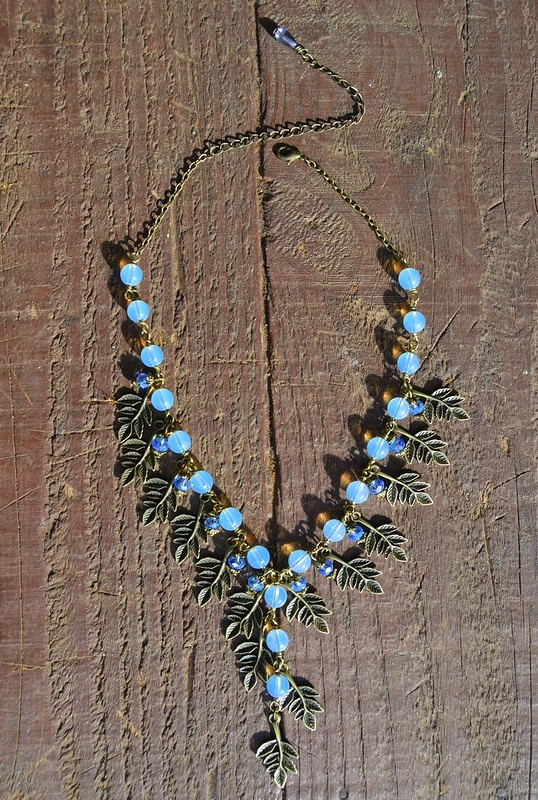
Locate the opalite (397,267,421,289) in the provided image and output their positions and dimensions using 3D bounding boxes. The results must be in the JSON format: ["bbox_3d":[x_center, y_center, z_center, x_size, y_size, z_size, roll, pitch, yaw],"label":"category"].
[{"bbox_3d":[0.390,-0.343,5.851,0.046,0.032,0.064,1,90,7],"label":"opalite"}]

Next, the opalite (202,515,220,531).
[{"bbox_3d":[-0.162,0.338,5.801,0.033,0.037,0.040,10,106,18],"label":"opalite"}]

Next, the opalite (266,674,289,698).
[{"bbox_3d":[0.022,0.786,5.753,0.063,0.037,0.066,-2,78,-2],"label":"opalite"}]

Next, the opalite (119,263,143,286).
[{"bbox_3d":[-0.387,-0.351,5.794,0.049,0.072,0.060,7,38,10],"label":"opalite"}]

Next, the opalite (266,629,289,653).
[{"bbox_3d":[0.018,0.663,5.781,0.064,0.029,0.064,-37,82,-8],"label":"opalite"}]

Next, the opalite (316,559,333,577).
[{"bbox_3d":[0.156,0.464,5.824,0.047,0.030,0.047,3,78,-1],"label":"opalite"}]

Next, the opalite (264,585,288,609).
[{"bbox_3d":[0.015,0.543,5.813,0.057,0.019,0.064,1,79,-2],"label":"opalite"}]

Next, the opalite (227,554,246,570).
[{"bbox_3d":[-0.097,0.451,5.797,0.037,0.020,0.047,-16,82,3],"label":"opalite"}]

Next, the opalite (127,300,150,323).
[{"bbox_3d":[-0.369,-0.250,5.811,0.060,0.054,0.059,1,77,-1],"label":"opalite"}]

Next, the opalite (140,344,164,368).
[{"bbox_3d":[-0.328,-0.125,5.793,0.050,0.076,0.065,12,81,-4],"label":"opalite"}]

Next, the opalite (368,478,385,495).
[{"bbox_3d":[0.308,0.240,5.838,0.032,0.030,0.046,0,67,-2],"label":"opalite"}]

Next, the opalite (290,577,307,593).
[{"bbox_3d":[0.071,0.511,5.805,0.031,0.028,0.043,1,41,4],"label":"opalite"}]

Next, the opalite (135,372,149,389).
[{"bbox_3d":[-0.358,-0.058,5.807,0.038,0.027,0.044,0,78,-2],"label":"opalite"}]

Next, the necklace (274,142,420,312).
[{"bbox_3d":[0.203,-0.504,5.875,0.073,0.073,0.469,-28,96,35],"label":"necklace"}]

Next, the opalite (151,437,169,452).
[{"bbox_3d":[-0.309,0.120,5.807,0.044,0.019,0.044,-2,79,-2],"label":"opalite"}]

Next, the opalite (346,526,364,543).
[{"bbox_3d":[0.242,0.370,5.834,0.037,0.011,0.049,2,90,10],"label":"opalite"}]

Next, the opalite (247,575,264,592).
[{"bbox_3d":[-0.040,0.504,5.804,0.035,0.025,0.047,1,88,-3],"label":"opalite"}]

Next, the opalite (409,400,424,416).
[{"bbox_3d":[0.423,0.018,5.860,0.027,0.029,0.039,-1,51,4],"label":"opalite"}]
